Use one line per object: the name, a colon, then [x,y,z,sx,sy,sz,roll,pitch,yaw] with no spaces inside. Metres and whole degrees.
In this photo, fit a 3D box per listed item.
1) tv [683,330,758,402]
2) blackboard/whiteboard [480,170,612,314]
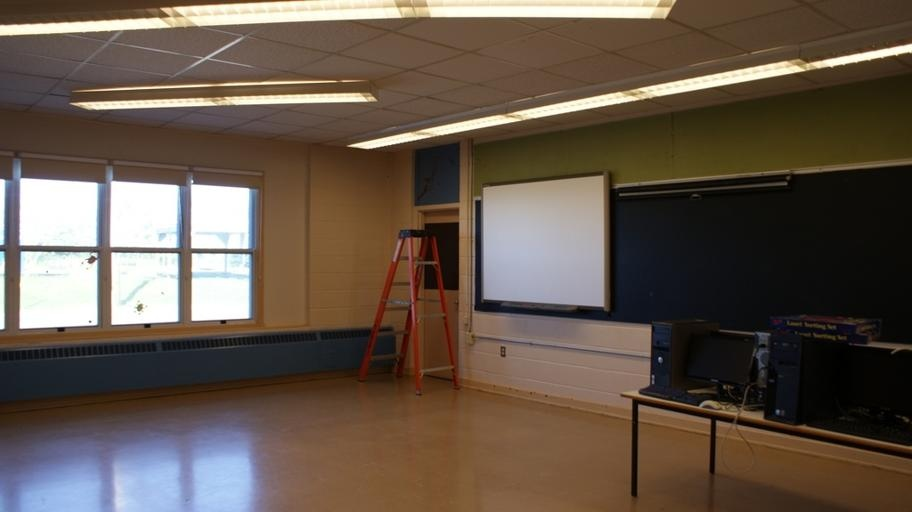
tv: [2.732,1.114,6.316,0.291,0.578,0.980,3,2,11]
blackboard/whiteboard: [1.345,-0.203,8.793,2.398,1.823,0.254,-2,-6,38]
